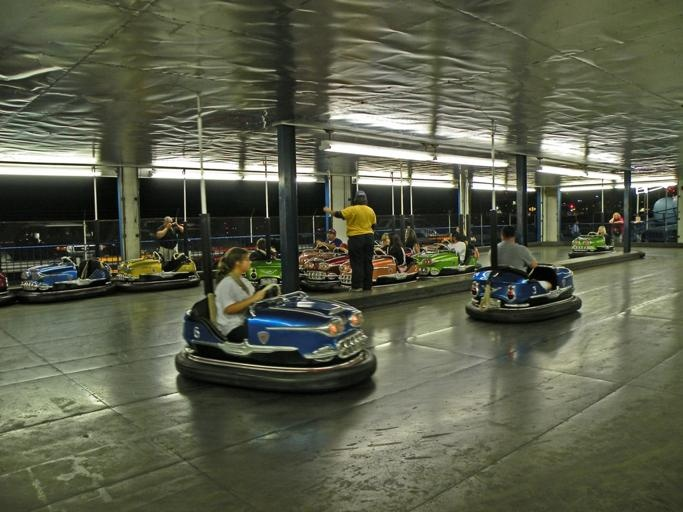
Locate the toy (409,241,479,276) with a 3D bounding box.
[{"bbox_3d":[2.169,0.071,11.810,1.284,0.343,0.762,-3,1,-37],"label":"toy"}]

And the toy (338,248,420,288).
[{"bbox_3d":[0.729,0.246,9.936,1.273,0.337,0.677,0,1,-38],"label":"toy"}]

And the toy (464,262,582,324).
[{"bbox_3d":[2.357,0.485,7.158,1.282,0.367,0.795,1,-3,-33],"label":"toy"}]

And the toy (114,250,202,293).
[{"bbox_3d":[-3.522,0.315,11.044,1.312,0.365,0.910,5,-8,-41],"label":"toy"}]

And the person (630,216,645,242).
[{"bbox_3d":[11.872,-1.082,22.767,0.456,1.072,0.405,-5,13,-6],"label":"person"}]

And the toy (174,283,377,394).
[{"bbox_3d":[-0.626,0.758,4.944,1.494,0.439,0.905,-3,-6,21],"label":"toy"}]

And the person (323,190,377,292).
[{"bbox_3d":[0.201,-0.206,8.593,0.539,1.506,0.757,0,13,15],"label":"person"}]
